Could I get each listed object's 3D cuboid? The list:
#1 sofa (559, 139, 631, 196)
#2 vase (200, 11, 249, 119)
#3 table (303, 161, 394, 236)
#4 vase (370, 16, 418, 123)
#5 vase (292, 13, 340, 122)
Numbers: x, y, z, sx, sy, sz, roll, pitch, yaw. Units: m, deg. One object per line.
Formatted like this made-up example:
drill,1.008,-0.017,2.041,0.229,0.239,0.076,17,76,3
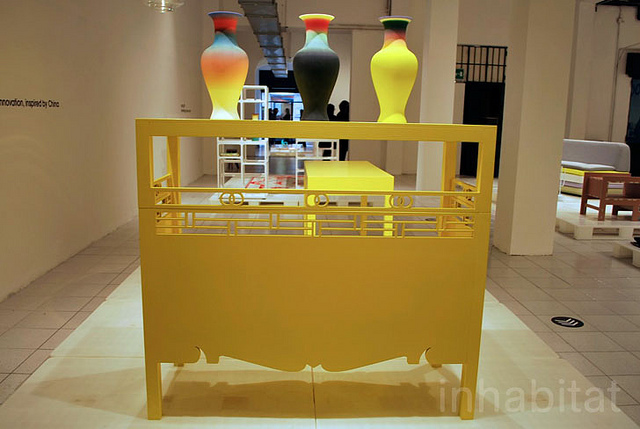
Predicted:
sofa,4.902,-0.813,8.324,0.588,0.757,1.146,-2,7,-7
vase,-0.572,-0.899,2.796,0.271,0.646,0.331,-1,11,-11
table,0.282,-0.028,3.824,0.756,0.254,0.275,-7,10,-3
vase,0.449,-0.887,2.829,0.275,0.647,0.343,3,11,7
vase,-0.030,-0.890,2.793,0.273,0.658,0.418,2,11,2
